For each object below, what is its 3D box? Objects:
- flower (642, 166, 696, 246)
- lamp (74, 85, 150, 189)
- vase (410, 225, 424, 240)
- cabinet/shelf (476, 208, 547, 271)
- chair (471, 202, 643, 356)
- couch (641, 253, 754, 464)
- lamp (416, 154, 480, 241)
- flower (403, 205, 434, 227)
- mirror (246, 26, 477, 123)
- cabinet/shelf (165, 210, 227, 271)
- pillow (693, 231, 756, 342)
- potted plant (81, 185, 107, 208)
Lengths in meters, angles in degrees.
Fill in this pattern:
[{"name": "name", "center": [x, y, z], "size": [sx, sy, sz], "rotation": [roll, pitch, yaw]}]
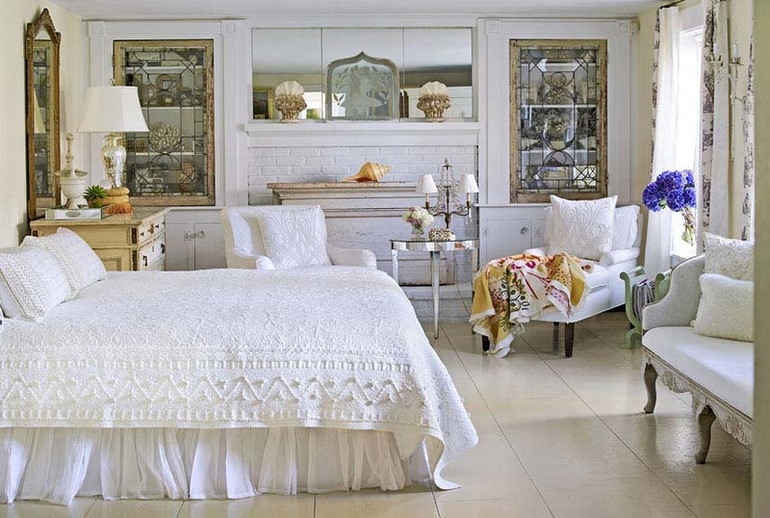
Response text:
[{"name": "flower", "center": [2.536, -0.454, 5.733], "size": [0.453, 0.631, 0.268], "rotation": [2, 12, 11]}, {"name": "lamp", "center": [-2.446, -1.051, 5.771], "size": [0.529, 0.874, 0.537], "rotation": [1, 7, -10]}, {"name": "vase", "center": [0.297, -0.226, 5.915], "size": [0.128, 0.170, 0.145], "rotation": [4, 2, 9]}, {"name": "cabinet/shelf", "center": [1.300, -0.225, 6.592], "size": [0.600, 0.605, 0.239], "rotation": [-1, 3, -5]}, {"name": "chair", "center": [1.755, 0.114, 6.102], "size": [1.489, 1.133, 1.901], "rotation": [1, 12, 5]}, {"name": "couch", "center": [1.825, 0.599, 3.746], "size": [0.449, 0.773, 1.091], "rotation": [1, 4, 5]}, {"name": "lamp", "center": [0.631, -0.617, 6.448], "size": [0.765, 1.163, 0.828], "rotation": [1, 9, 7]}, {"name": "flower", "center": [0.315, -0.369, 5.877], "size": [0.199, 0.187, 0.208], "rotation": [4, 11, 16]}, {"name": "mirror", "center": [-0.239, -1.967, 6.927], "size": [2.353, 0.933, 0.171], "rotation": [0, 12, 0]}, {"name": "cabinet/shelf", "center": [-1.996, -0.217, 6.734], "size": [0.571, 0.592, 0.234], "rotation": [0, 3, -3]}, {"name": "pillow", "center": [1.962, 0.186, 3.743], "size": [0.166, 0.605, 0.580], "rotation": [2, 9, 29]}, {"name": "potted plant", "center": [-2.503, -0.516, 5.519], "size": [0.215, 0.220, 0.221], "rotation": [4, 1, -9]}]
